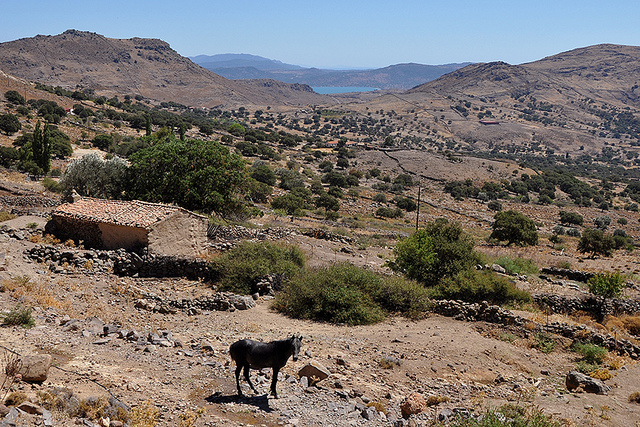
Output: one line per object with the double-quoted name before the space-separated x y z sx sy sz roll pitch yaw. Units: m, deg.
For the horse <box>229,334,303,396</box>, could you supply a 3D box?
"horse" -3.190 9.159 39.851 5.082 3.404 1.353 -5 -10 26
